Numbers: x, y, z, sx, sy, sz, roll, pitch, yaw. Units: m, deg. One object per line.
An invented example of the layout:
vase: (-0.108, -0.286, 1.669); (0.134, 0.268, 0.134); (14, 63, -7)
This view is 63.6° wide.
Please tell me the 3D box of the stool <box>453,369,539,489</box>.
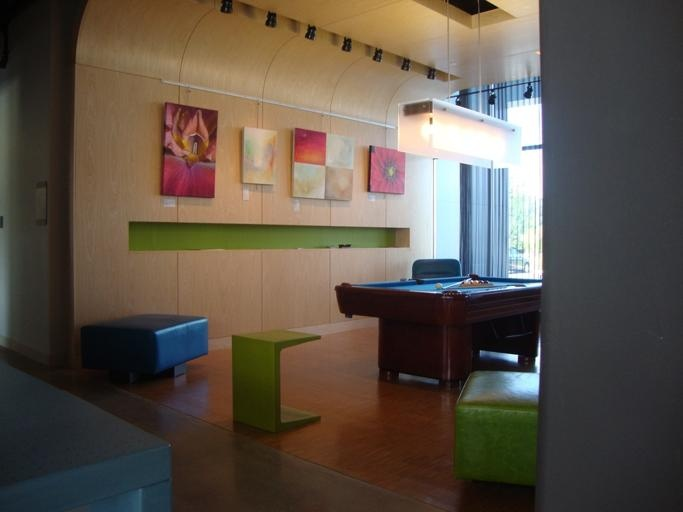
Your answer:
stool: (0.876, 0.979, 3.093); (0.412, 0.494, 0.523); (1, 2, 21)

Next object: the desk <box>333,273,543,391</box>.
desk: (1.222, 0.692, 5.659); (2.364, 0.858, 1.402); (-2, 3, -44)

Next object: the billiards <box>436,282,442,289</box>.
billiards: (0.972, 0.305, 5.523); (0.041, 0.033, 0.042); (-3, 5, -27)
